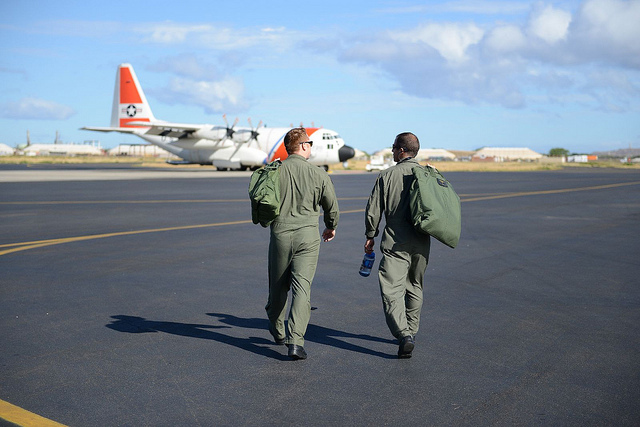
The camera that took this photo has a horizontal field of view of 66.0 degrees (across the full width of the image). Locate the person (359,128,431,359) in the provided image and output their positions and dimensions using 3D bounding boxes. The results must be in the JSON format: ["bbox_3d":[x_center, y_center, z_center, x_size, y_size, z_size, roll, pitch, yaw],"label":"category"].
[{"bbox_3d":[0.941,0.349,5.993,0.749,2.588,0.877,6,12,31],"label":"person"}]

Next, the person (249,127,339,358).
[{"bbox_3d":[-0.363,0.319,6.028,0.928,2.668,0.860,8,14,38],"label":"person"}]

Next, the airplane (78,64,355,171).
[{"bbox_3d":[-11.005,-6.648,45.557,14.100,6.240,15.781,0,4,16],"label":"airplane"}]
